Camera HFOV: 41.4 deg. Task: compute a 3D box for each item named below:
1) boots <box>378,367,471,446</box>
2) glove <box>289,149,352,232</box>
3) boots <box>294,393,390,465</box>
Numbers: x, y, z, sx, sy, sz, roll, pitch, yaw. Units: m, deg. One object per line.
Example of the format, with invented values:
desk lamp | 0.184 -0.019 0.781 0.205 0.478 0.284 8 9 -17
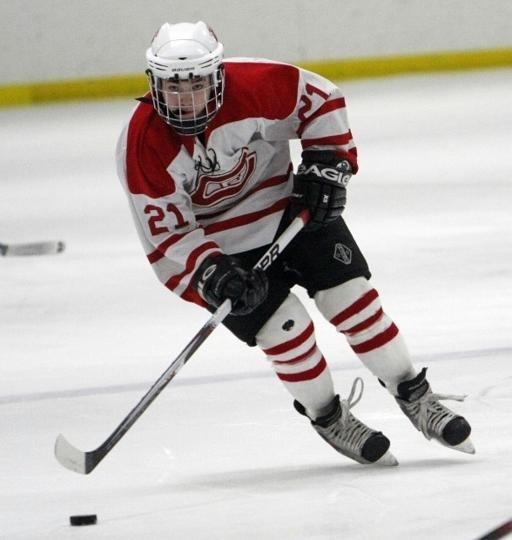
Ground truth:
boots | 0.426 0.347 1.735 0.106 0.129 0.270 -49 37 3
glove | 0.167 -0.209 1.781 0.191 0.191 0.089 3 4 -7
boots | 0.215 0.399 1.765 0.085 0.119 0.282 -52 37 -7
